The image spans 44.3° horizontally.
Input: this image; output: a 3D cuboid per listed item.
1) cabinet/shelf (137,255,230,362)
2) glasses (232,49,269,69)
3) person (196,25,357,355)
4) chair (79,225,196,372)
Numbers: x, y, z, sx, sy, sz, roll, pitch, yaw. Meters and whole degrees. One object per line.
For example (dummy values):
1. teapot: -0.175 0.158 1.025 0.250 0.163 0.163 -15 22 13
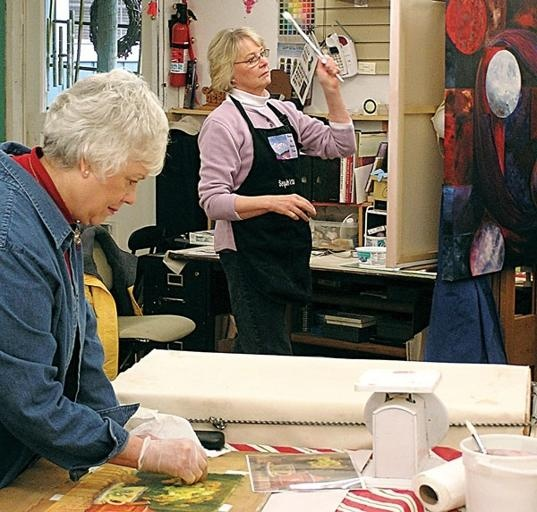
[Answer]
1. cabinet/shelf: -0.567 0.390 4.544 0.452 0.706 0.529 1 3 7
2. glasses: -0.077 -0.790 2.639 0.102 0.027 0.099 9 29 40
3. person: 0.027 -0.270 2.709 0.542 1.322 0.554 1 7 15
4. chair: -0.675 0.268 3.353 0.599 0.672 0.455 2 11 -2
